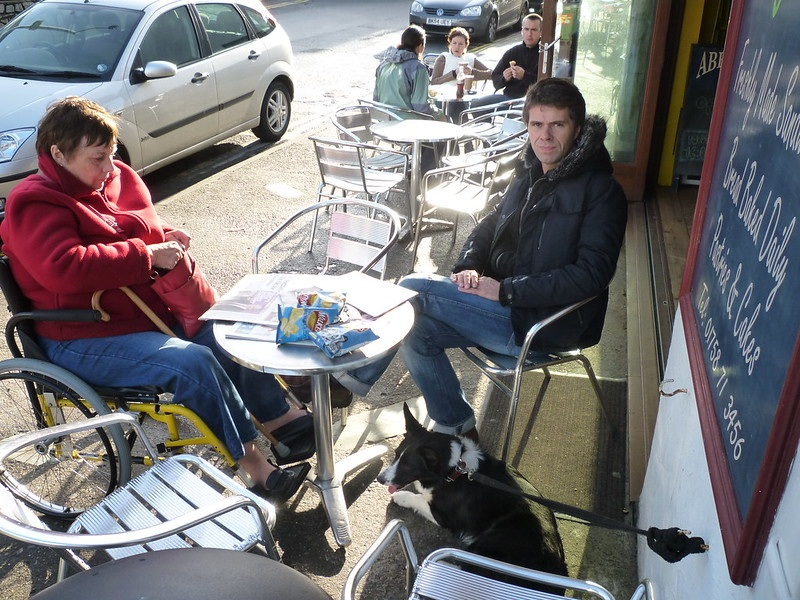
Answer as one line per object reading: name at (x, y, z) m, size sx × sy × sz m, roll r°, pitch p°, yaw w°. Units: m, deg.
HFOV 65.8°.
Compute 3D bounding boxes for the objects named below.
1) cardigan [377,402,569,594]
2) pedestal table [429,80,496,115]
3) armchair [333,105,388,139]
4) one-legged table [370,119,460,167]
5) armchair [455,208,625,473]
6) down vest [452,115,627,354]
cardigan at (0.295, 0.832, 3.001) m, size 1.194 × 0.640 × 0.487 m, roll 26°, pitch 42°, yaw 37°
pedestal table at (0.737, -2.457, 7.636) m, size 0.674 × 0.423 × 0.685 m, roll -6°, pitch 52°, yaw -2°
armchair at (-0.431, -1.741, 6.649) m, size 0.449 × 0.460 × 0.378 m, roll -21°, pitch 10°, yaw -5°
one-legged table at (0.153, -1.551, 5.896) m, size 0.764 × 0.428 × 0.684 m, roll 6°, pitch 24°, yaw 11°
armchair at (0.741, 0.172, 3.664) m, size 0.820 × 1.005 × 1.019 m, roll -10°, pitch 18°, yaw -13°
down vest at (0.843, -0.344, 3.487) m, size 0.863 × 1.342 × 0.817 m, roll 18°, pitch 29°, yaw 33°
